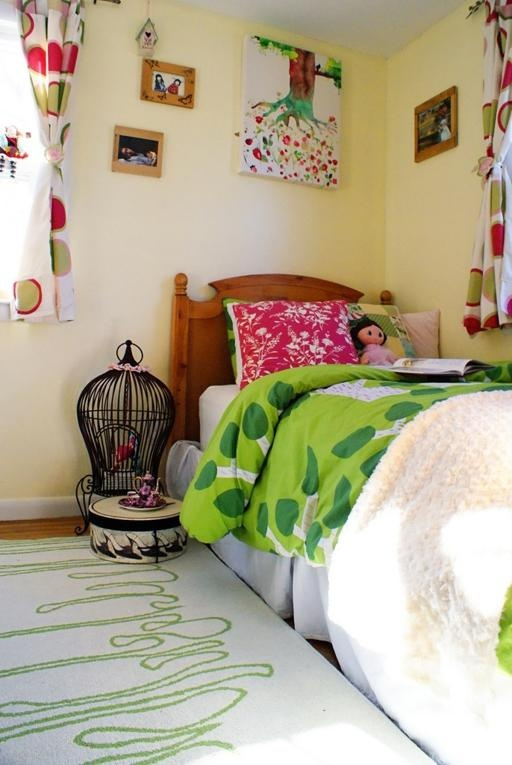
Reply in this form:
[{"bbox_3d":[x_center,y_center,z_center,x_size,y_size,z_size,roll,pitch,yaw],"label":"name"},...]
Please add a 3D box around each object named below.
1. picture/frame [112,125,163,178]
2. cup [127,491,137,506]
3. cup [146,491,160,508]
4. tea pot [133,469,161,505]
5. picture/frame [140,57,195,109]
[{"bbox_3d":[-0.537,-1.011,2.511,0.253,0.223,0.027,3,-1,-21],"label":"picture/frame"},{"bbox_3d":[-0.420,0.385,1.898,0.029,0.041,0.067,3,-1,-33],"label":"cup"},{"bbox_3d":[-0.340,0.391,1.897,0.033,0.047,0.068,1,-1,44],"label":"cup"},{"bbox_3d":[-0.393,0.375,2.028,0.140,0.152,0.094,1,-1,-10],"label":"tea pot"},{"bbox_3d":[-0.415,-1.344,2.567,0.274,0.194,0.030,1,0,-25],"label":"picture/frame"}]
